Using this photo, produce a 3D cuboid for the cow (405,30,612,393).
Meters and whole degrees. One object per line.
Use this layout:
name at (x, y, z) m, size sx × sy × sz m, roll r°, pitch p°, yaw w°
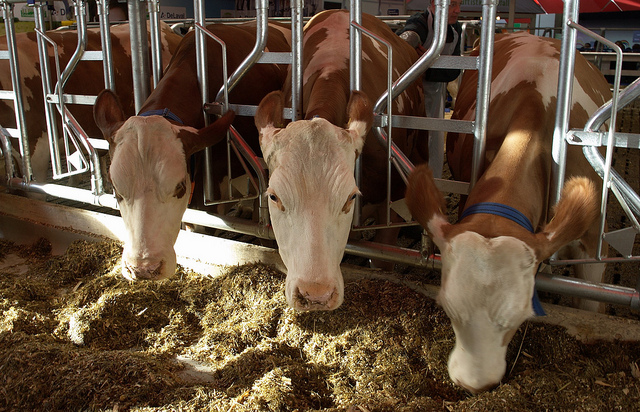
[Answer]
cow at (1.376, -0.069, 3.656) m, size 1.257 × 1.854 × 2.325 m, roll 9°, pitch 20°, yaw 20°
